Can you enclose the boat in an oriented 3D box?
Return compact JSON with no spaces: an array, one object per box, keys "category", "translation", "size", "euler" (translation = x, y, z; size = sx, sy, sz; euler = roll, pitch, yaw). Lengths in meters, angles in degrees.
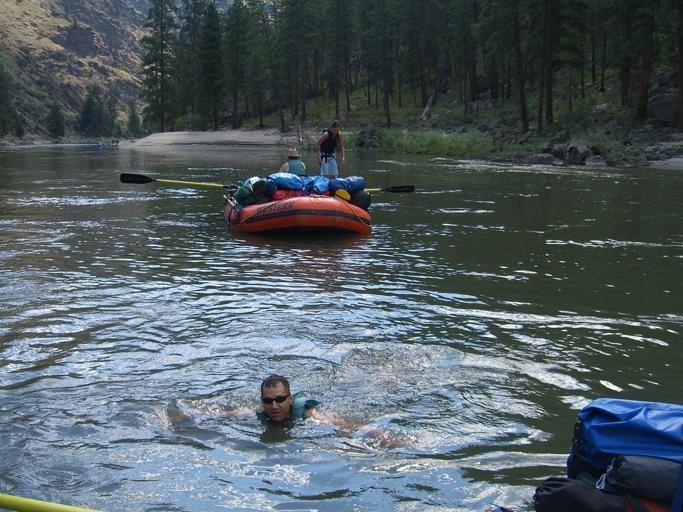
[{"category":"boat","translation":[-0.891,-1.110,16.240],"size":[2.776,1.293,1.797],"euler":[-1,7,-14]}]
